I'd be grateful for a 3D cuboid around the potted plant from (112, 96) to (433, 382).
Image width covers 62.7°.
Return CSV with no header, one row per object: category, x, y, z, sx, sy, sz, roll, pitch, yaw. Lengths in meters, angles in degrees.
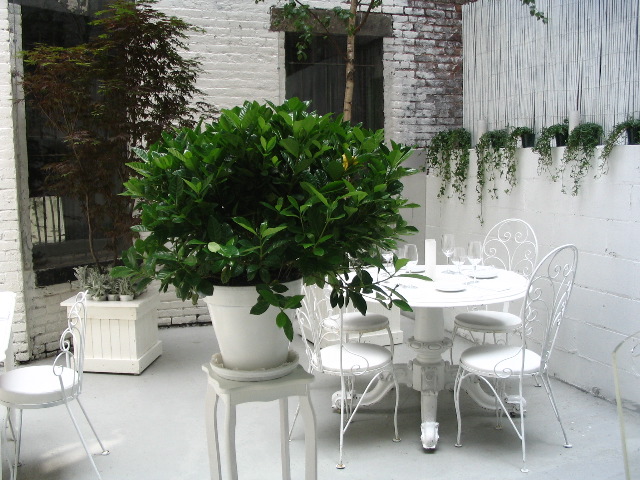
potted plant,-0.106,-0.019,1.875,0.880,0.947,0.968,11,4,35
